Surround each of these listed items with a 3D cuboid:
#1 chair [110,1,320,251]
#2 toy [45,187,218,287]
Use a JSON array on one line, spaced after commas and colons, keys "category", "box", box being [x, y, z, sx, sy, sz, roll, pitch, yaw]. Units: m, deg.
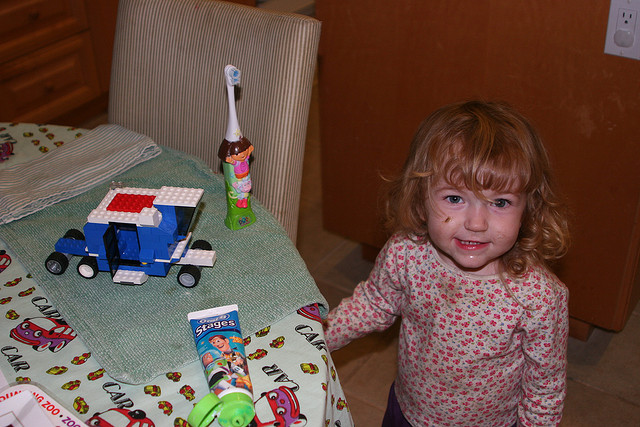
[{"category": "chair", "box": [-0.306, -0.257, 1.405, 0.412, 0.809, 0.453, 13, 31, 13]}, {"category": "toy", "box": [-0.425, 0.036, 1.151, 0.353, 0.193, 0.225, 6, 31, 1]}]
